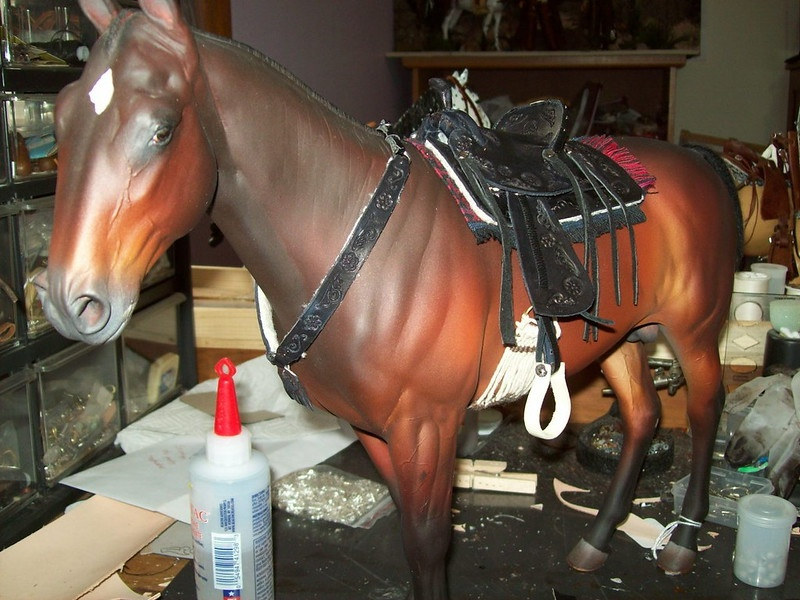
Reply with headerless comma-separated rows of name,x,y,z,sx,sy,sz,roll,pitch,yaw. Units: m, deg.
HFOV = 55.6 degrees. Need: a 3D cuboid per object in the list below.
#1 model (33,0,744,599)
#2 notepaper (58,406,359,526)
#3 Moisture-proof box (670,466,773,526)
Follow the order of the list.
model,0.021,-0.157,2.011,1.798,1.548,0.680,-7,8,-29
notepaper,-0.543,0.426,1.851,0.320,0.023,0.436,8,16,22
Moisture-proof box,0.763,0.432,1.759,0.142,0.065,0.184,8,20,34
